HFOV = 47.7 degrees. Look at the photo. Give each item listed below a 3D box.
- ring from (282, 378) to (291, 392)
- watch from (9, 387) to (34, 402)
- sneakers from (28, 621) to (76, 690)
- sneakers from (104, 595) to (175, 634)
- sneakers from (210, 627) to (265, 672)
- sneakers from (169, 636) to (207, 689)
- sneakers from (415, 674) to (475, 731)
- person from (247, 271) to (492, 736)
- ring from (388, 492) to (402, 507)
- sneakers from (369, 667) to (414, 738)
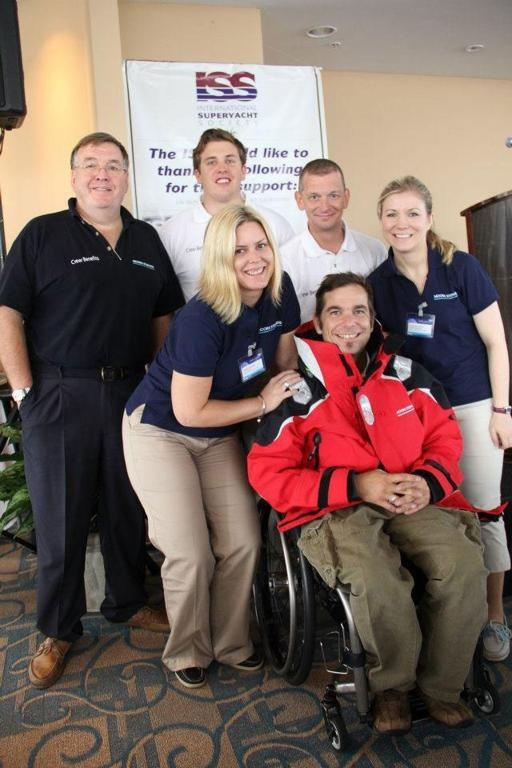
[{"bbox_3d":[0.092,0.001,1.739,0.024,0.033,0.013,8,-9,-7],"label":"ring"},{"bbox_3d":[-0.768,0.031,1.911,0.047,0.063,0.024,12,31,-14],"label":"watch"},{"bbox_3d":[-0.670,0.893,1.875,0.059,0.065,0.176,3,-2,-3],"label":"sneakers"},{"bbox_3d":[-0.414,0.859,2.142,0.286,0.123,0.098,-4,20,1],"label":"sneakers"},{"bbox_3d":[-0.088,0.870,1.904,0.208,0.130,0.071,-9,-9,30],"label":"sneakers"},{"bbox_3d":[-0.206,0.841,1.764,0.105,0.105,0.260,7,-14,-22],"label":"sneakers"},{"bbox_3d":[0.473,0.817,1.505,0.068,0.073,0.170,-1,-8,-25],"label":"sneakers"},{"bbox_3d":[0.309,0.352,1.587,0.624,0.979,0.503,-5,4,-5],"label":"person"},{"bbox_3d":[0.361,0.301,1.516,0.029,0.029,0.014,-3,-14,-1],"label":"ring"},{"bbox_3d":[0.340,0.802,1.420,0.061,0.061,0.144,-1,-13,4],"label":"sneakers"}]
